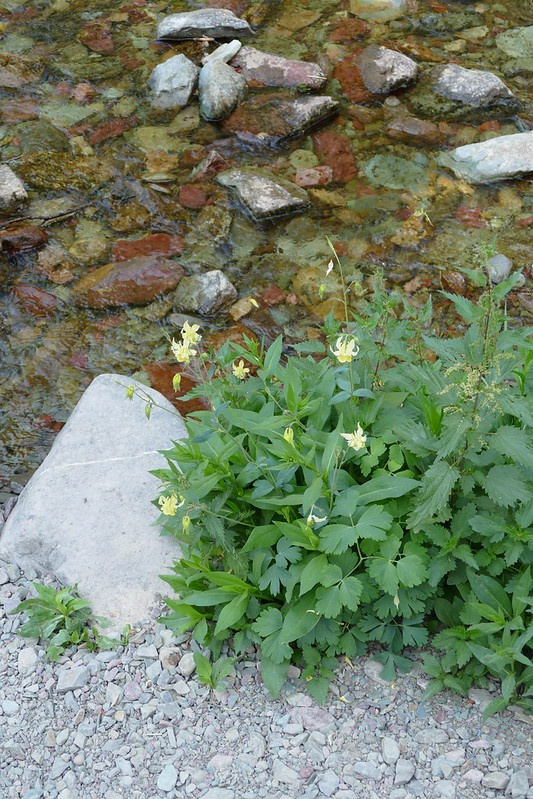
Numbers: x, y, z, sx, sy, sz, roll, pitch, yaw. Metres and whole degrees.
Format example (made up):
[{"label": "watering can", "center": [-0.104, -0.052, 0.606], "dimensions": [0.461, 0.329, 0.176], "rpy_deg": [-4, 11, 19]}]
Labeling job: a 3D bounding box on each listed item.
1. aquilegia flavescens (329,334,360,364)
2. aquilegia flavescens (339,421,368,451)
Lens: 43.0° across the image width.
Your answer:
[{"label": "aquilegia flavescens", "center": [0.241, -0.174, 2.226], "dimensions": [0.114, 0.109, 0.122], "rpy_deg": [1, -6, 3]}, {"label": "aquilegia flavescens", "center": [0.282, 0.120, 2.163], "dimensions": [0.097, 0.039, 0.090], "rpy_deg": [-3, 76, -25]}]
